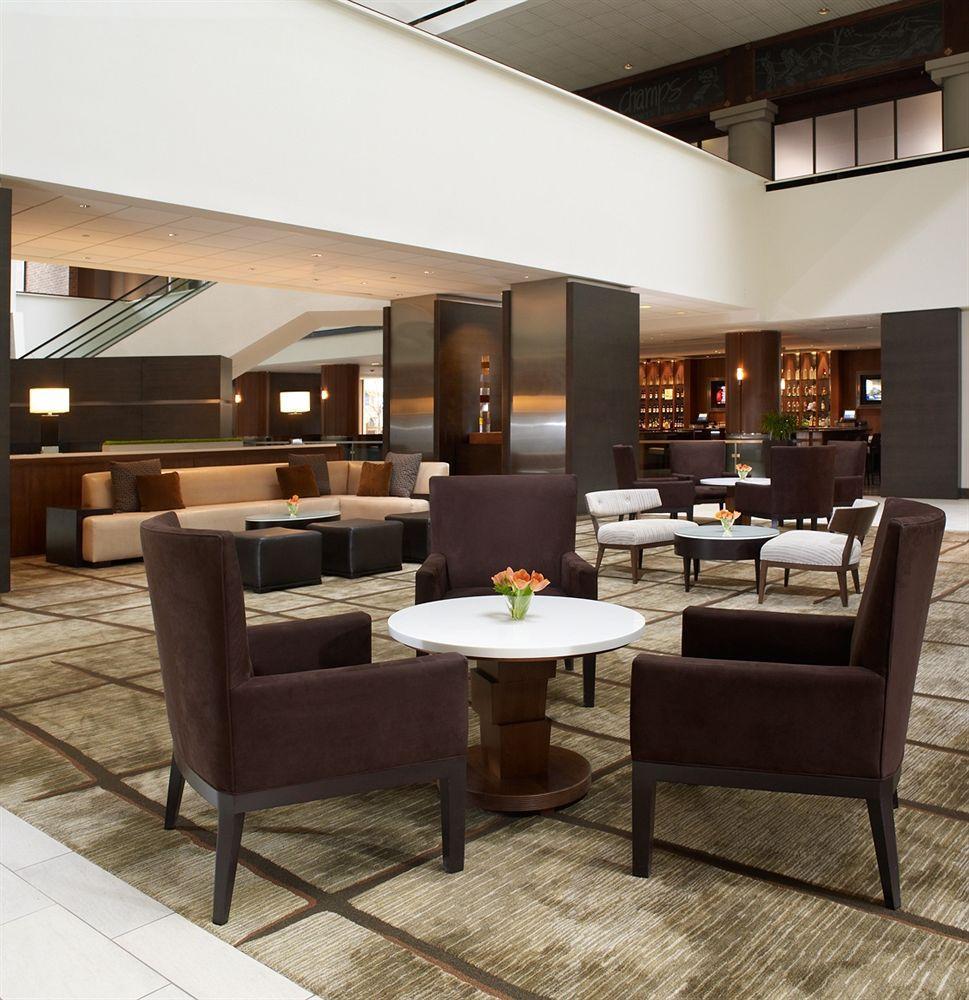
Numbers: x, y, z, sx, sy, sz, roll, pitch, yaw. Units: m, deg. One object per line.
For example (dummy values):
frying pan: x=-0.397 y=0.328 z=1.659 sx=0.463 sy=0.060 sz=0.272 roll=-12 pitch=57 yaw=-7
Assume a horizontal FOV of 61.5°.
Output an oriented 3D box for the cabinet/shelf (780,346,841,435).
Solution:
cabinet/shelf: x=8.548 y=-3.015 z=21.540 sx=1.281 sy=1.942 sz=0.542 roll=1 pitch=5 yaw=23

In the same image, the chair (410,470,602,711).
chair: x=0.098 y=0.428 z=3.905 sx=0.831 sy=0.986 sz=0.584 roll=0 pitch=10 yaw=-1

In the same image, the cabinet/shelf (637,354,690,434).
cabinet/shelf: x=5.380 y=-3.235 z=24.134 sx=1.388 sy=2.004 sz=0.779 roll=0 pitch=4 yaw=13

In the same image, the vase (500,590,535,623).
vase: x=0.119 y=0.355 z=2.741 sx=0.102 sy=0.085 sz=0.098 roll=2 pitch=-2 yaw=-18

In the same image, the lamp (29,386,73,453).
lamp: x=-6.661 y=-1.264 z=12.543 sx=0.631 sy=1.050 sz=3.408 roll=-3 pitch=4 yaw=-28

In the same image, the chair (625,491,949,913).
chair: x=0.830 y=0.476 z=2.191 sx=0.682 sy=0.922 sz=0.730 roll=1 pitch=5 yaw=28

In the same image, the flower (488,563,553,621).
flower: x=0.116 y=0.310 z=2.788 sx=0.194 sy=0.172 sz=0.188 roll=2 pitch=0 yaw=25

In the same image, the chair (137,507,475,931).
chair: x=-0.492 y=0.511 z=2.221 sx=0.861 sy=0.813 sz=0.862 roll=4 pitch=2 yaw=29
